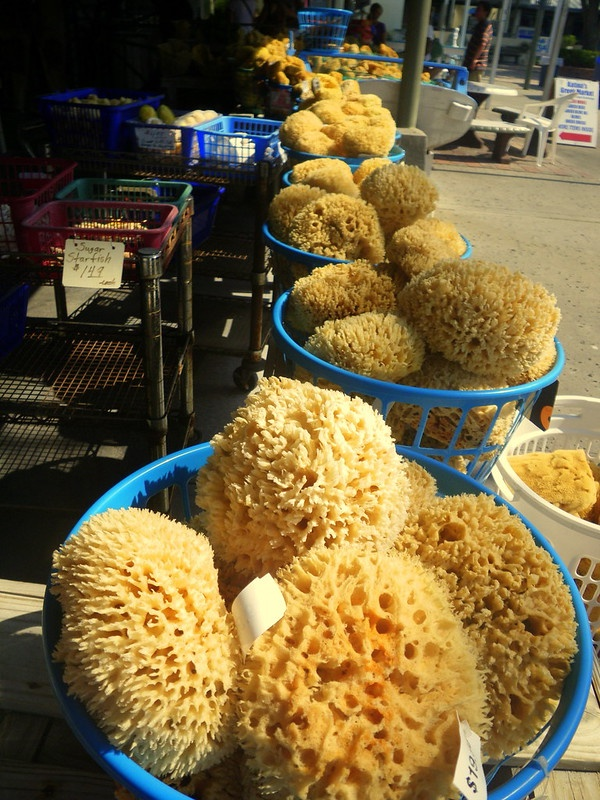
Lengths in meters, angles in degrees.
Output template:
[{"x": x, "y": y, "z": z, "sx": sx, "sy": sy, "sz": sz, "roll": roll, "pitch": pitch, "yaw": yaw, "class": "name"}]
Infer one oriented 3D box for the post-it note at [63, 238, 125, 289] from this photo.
[{"x": -0.482, "y": -0.318, "z": 1.501, "sx": 0.160, "sy": 0.122, "sz": 0.008, "roll": 2, "pitch": -7, "yaw": -9, "class": "post-it note"}]
